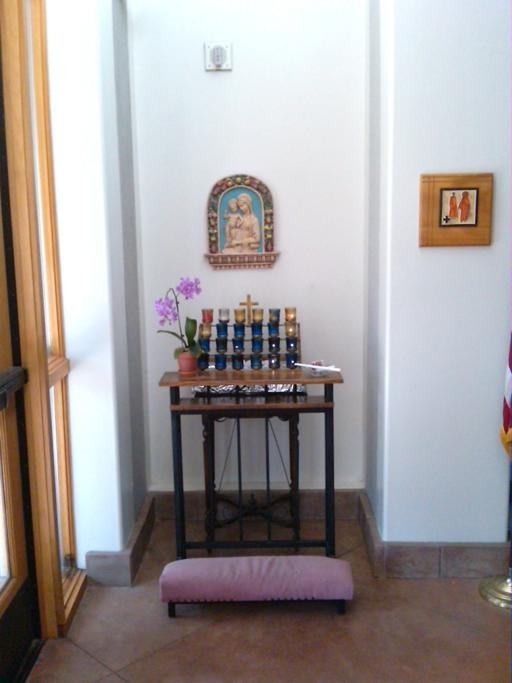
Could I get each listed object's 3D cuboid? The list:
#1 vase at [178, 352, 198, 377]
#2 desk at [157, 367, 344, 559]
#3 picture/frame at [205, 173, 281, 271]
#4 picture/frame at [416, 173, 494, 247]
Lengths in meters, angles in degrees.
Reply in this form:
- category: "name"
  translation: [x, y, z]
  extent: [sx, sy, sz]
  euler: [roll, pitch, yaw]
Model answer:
- category: "vase"
  translation: [-0.309, 0.104, 2.743]
  extent: [0.090, 0.101, 0.091]
  euler: [-3, 6, -37]
- category: "desk"
  translation: [0.002, 0.566, 2.840]
  extent: [0.681, 0.861, 0.507]
  euler: [0, 3, -11]
- category: "picture/frame"
  translation: [-0.077, -0.619, 3.126]
  extent: [0.364, 0.517, 0.078]
  euler: [-2, 38, -2]
- category: "picture/frame"
  translation: [0.809, -0.543, 2.437]
  extent: [0.246, 0.293, 0.027]
  euler: [0, 4, 3]
